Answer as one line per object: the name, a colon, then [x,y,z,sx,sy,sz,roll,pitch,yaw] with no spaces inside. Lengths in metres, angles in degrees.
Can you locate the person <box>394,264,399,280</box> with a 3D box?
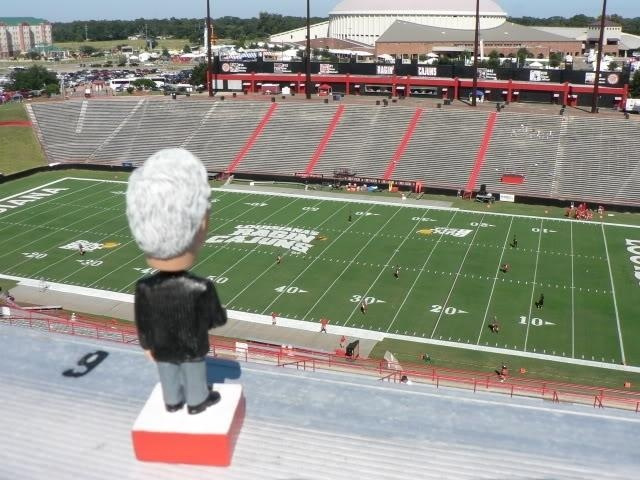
person: [4.613,1.923,33.946,0.288,0.337,0.809,4,40,12]
